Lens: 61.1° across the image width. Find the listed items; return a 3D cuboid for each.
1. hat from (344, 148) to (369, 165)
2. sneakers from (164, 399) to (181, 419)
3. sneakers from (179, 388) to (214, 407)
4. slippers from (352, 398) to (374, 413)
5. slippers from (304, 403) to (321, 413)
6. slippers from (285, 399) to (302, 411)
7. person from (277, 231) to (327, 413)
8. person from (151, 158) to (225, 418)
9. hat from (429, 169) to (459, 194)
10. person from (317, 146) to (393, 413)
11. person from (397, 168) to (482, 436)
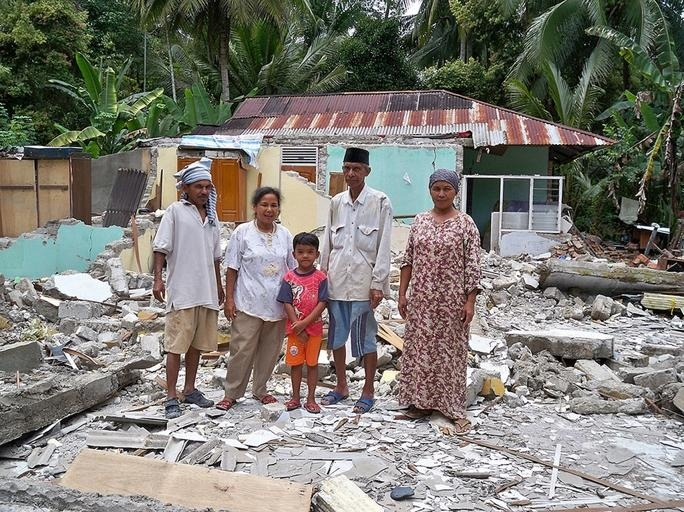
[{"bbox_3d":[0.138,-0.962,5.504,0.226,0.165,0.275,1,1,-3],"label":"hat"},{"bbox_3d":[-1.533,1.377,5.272,0.141,0.142,0.184,1,2,-18],"label":"sneakers"},{"bbox_3d":[-1.377,1.361,5.506,0.325,0.157,0.132,7,4,2],"label":"sneakers"},{"bbox_3d":[0.225,1.420,5.571,0.134,0.110,0.333,2,2,37],"label":"slippers"},{"bbox_3d":[-0.286,1.421,5.476,0.170,0.083,0.154,1,1,-1],"label":"slippers"},{"bbox_3d":[-0.464,1.401,5.479,0.140,0.071,0.200,1,1,-2],"label":"slippers"},{"bbox_3d":[-0.372,0.617,5.545,0.469,1.684,0.382,1,2,-3],"label":"person"},{"bbox_3d":[-1.434,0.254,5.495,0.348,2.379,0.671,3,3,39],"label":"person"},{"bbox_3d":[0.962,-0.719,5.451,0.218,0.214,0.258,3,11,3],"label":"hat"},{"bbox_3d":[0.128,0.223,5.600,0.678,2.496,0.424,1,2,-2],"label":"person"},{"bbox_3d":[0.892,0.372,5.384,0.732,2.356,0.400,1,2,10],"label":"person"}]
